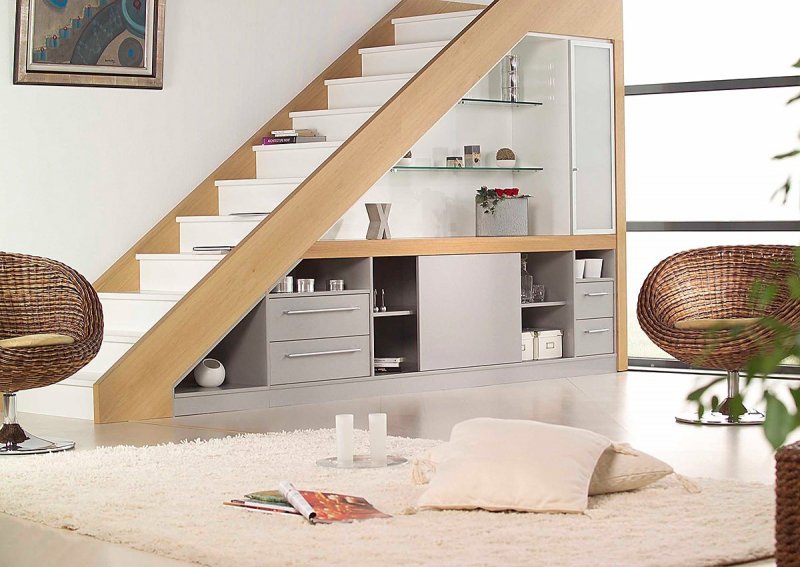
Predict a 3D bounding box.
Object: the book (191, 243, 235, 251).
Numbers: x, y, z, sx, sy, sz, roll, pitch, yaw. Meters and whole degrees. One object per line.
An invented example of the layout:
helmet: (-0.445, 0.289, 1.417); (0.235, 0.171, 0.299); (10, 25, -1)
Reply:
book: (-1.346, -0.255, 5.256); (0.360, 0.051, 0.206); (0, 1, 10)

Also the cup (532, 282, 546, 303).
cup: (1.169, 0.083, 6.234); (0.153, 0.140, 0.141); (-1, 1, 0)
